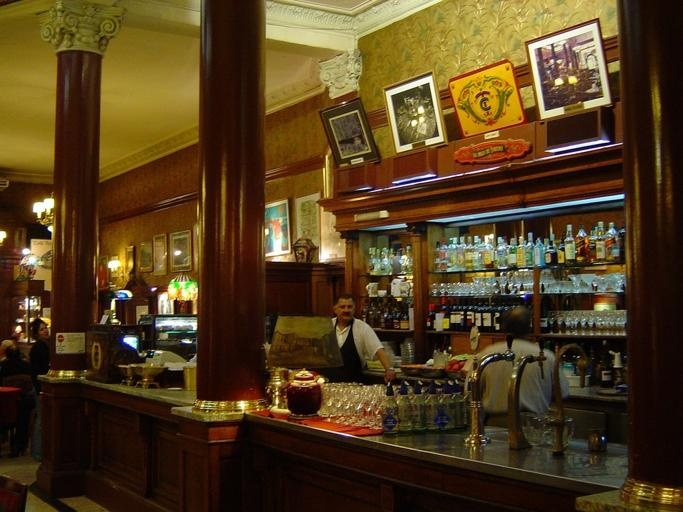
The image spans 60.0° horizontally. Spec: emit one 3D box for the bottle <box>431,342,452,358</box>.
[{"bbox_3d":[1.118,1.070,6.701,0.167,0.183,0.188,7,-11,-36],"label":"bottle"}]

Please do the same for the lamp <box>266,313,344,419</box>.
[{"bbox_3d":[-0.231,0.788,4.094,0.608,0.731,0.624,0,-12,1],"label":"lamp"}]

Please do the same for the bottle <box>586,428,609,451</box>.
[{"bbox_3d":[1.260,0.936,2.966,0.104,0.104,0.078,-11,-14,41],"label":"bottle"}]

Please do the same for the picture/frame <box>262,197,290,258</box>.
[{"bbox_3d":[-1.051,-0.466,9.867,0.103,1.046,1.039,2,-8,-31],"label":"picture/frame"}]

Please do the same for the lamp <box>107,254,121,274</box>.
[{"bbox_3d":[-6.257,0.268,16.285,0.439,0.477,0.440,-1,4,-12],"label":"lamp"}]

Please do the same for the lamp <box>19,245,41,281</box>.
[{"bbox_3d":[-8.373,0.155,16.008,0.478,0.993,1.997,3,-9,-29],"label":"lamp"}]

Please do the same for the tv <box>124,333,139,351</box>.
[{"bbox_3d":[-2.103,0.893,6.008,0.155,0.148,0.047,7,-10,-33],"label":"tv"}]

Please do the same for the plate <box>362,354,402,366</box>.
[{"bbox_3d":[0.571,1.274,7.083,0.312,0.106,0.318,0,0,44],"label":"plate"}]

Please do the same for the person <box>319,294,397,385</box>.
[{"bbox_3d":[0.214,0.881,6.030,0.892,1.080,0.366,-4,-9,2],"label":"person"}]

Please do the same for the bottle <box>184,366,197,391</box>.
[{"bbox_3d":[-1.375,1.120,5.383,0.099,0.212,0.086,-1,-7,-3],"label":"bottle"}]

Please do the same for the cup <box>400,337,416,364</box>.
[{"bbox_3d":[0.788,1.150,7.132,0.169,0.295,0.138,-2,-7,10],"label":"cup"}]

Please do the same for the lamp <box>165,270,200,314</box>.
[{"bbox_3d":[-3.374,0.760,12.610,0.541,0.961,1.414,1,-8,-17],"label":"lamp"}]

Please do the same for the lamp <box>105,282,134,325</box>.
[{"bbox_3d":[-5.620,1.242,15.165,0.578,1.015,2.616,2,-8,-22],"label":"lamp"}]

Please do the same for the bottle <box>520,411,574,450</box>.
[{"bbox_3d":[1.021,0.861,2.973,0.188,0.117,0.192,0,-5,0],"label":"bottle"}]

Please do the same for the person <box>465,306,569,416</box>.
[{"bbox_3d":[1.147,0.690,3.853,0.571,0.741,0.990,-4,-8,19],"label":"person"}]
